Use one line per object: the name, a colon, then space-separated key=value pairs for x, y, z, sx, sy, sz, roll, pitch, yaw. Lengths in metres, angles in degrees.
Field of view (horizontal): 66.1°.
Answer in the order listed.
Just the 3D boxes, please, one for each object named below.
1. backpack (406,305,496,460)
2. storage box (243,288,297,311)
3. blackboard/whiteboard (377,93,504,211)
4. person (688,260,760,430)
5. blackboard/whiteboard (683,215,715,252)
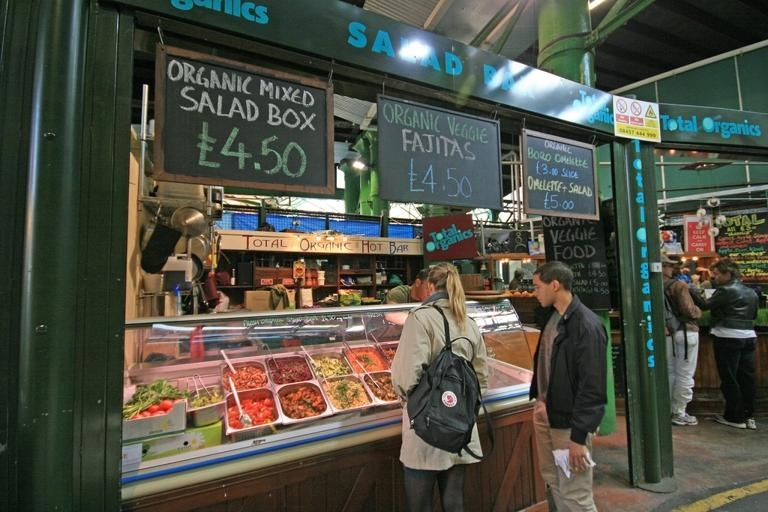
backpack: x=0.460 y=1.007 z=4.566 sx=0.582 sy=1.190 sz=0.380 roll=-2 pitch=0 yaw=-2
storage box: x=-1.947 y=0.726 z=10.210 sx=0.797 sy=0.364 sz=2.376 roll=-2 pitch=1 yaw=-10
blackboard/whiteboard: x=0.482 y=-0.912 z=5.057 sx=1.058 sy=0.750 sz=0.039 roll=3 pitch=-10 yaw=-26
person: x=4.130 y=1.039 z=7.080 sx=0.609 sy=1.986 sz=0.357 roll=-2 pitch=0 yaw=32
blackboard/whiteboard: x=5.361 y=-0.360 z=10.086 sx=0.430 sy=0.646 sz=0.285 roll=-2 pitch=0 yaw=28
